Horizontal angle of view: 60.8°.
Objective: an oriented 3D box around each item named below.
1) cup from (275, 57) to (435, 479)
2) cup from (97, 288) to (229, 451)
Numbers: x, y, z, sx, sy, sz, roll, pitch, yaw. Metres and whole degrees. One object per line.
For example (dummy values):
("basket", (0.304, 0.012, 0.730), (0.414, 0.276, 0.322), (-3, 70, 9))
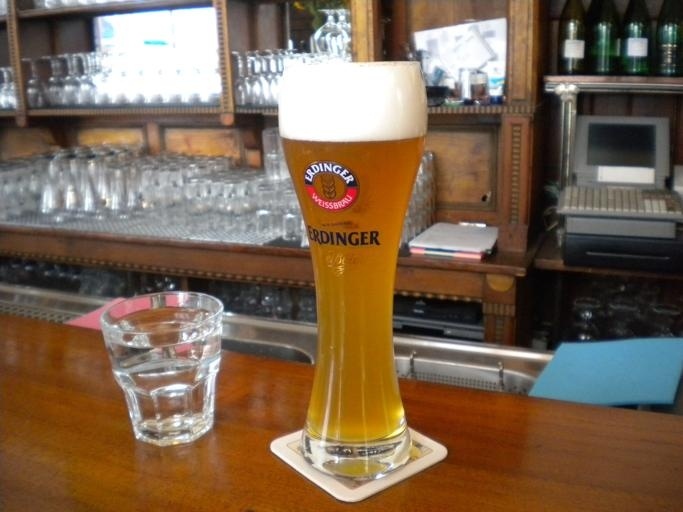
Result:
("cup", (0.017, 0.015, 0.542), (0.127, 0.373, 0.095), (-2, 14, -5))
("cup", (-0.177, 0.102, 0.698), (0.146, 0.167, 0.150), (-1, 15, 0))
